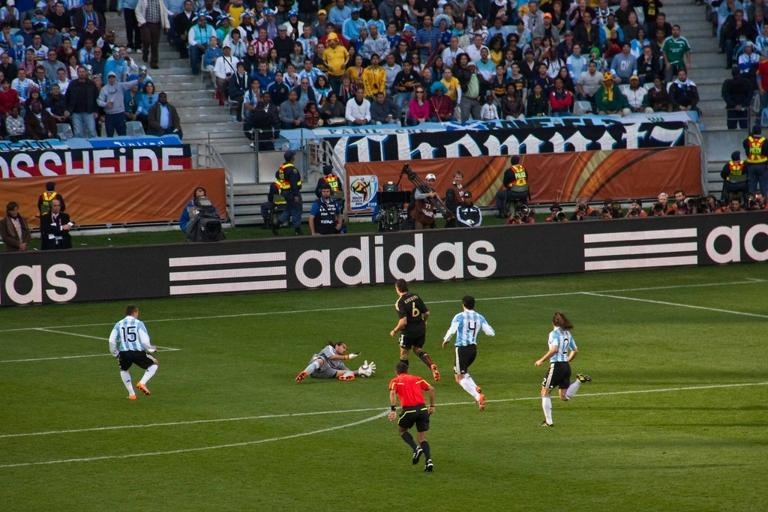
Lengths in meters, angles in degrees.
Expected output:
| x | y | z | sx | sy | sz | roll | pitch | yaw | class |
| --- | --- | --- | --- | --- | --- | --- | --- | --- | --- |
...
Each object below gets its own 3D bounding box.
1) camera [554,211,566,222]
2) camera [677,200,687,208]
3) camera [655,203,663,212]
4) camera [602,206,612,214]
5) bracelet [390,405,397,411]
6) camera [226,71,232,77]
| x | y | z | sx | sy | sz | roll | pitch | yaw | class |
| --- | --- | --- | --- | --- | --- | --- | --- | --- | --- |
| 6.224 | -1.380 | 60.878 | 0.436 | 0.405 | 0.459 | -10 | 3 | 1 | camera |
| 10.653 | -1.874 | 61.810 | 0.243 | 0.179 | 0.248 | 10 | 13 | 44 | camera |
| 9.841 | -1.765 | 62.003 | 0.263 | 0.287 | 0.121 | -3 | 8 | -6 | camera |
| 7.878 | -1.650 | 61.221 | 0.300 | 0.290 | 0.140 | -1 | 8 | 14 | camera |
| 0.243 | 4.025 | 45.824 | 0.186 | 0.165 | 0.172 | 0 | 8 | -7 | bracelet |
| -5.909 | -6.933 | 65.425 | 0.220 | 0.274 | 0.154 | 1 | 5 | 3 | camera |
